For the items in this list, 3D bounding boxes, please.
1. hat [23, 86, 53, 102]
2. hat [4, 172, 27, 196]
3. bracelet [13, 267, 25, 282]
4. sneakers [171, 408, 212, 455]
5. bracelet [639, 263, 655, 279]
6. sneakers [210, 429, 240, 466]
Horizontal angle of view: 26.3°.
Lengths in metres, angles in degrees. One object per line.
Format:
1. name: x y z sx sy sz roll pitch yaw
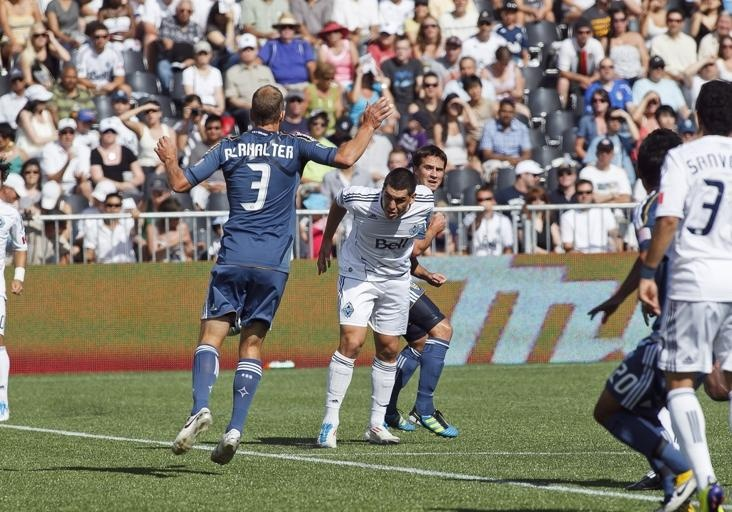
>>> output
1. hat: -5.071 -2.490 24.234 0.370 0.139 0.255 5 40 15
2. hat: -5.027 -1.007 22.559 0.118 0.352 0.226 -38 -18 17
3. bracelet: -4.126 0.226 18.655 0.154 0.164 0.149 1 -4 5
4. sneakers: -1.785 1.831 16.149 0.515 0.188 0.246 -48 34 -22
5. bracelet: 2.615 0.153 14.552 0.131 0.135 0.146 7 6 -1
6. sneakers: -1.376 1.947 15.459 0.169 0.225 0.473 25 -42 -8
